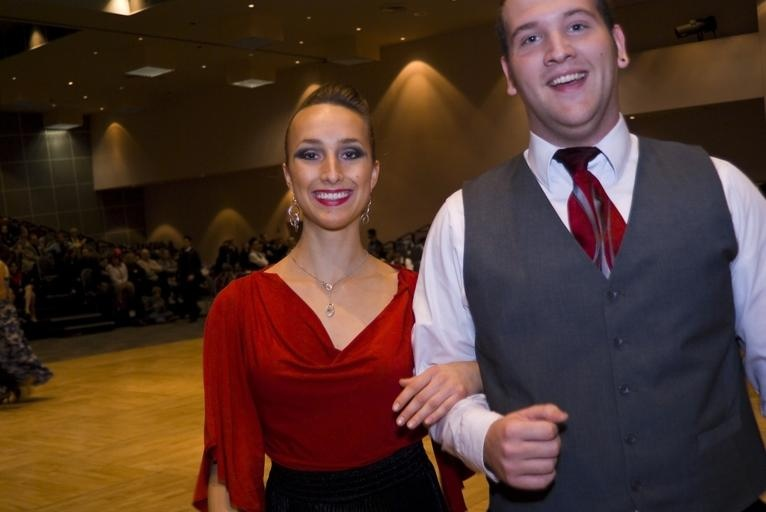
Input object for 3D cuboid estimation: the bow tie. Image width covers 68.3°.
[{"bbox_3d":[0.556,-0.118,1.490,0.109,0.366,0.051,-12,-33,17],"label":"bow tie"}]
